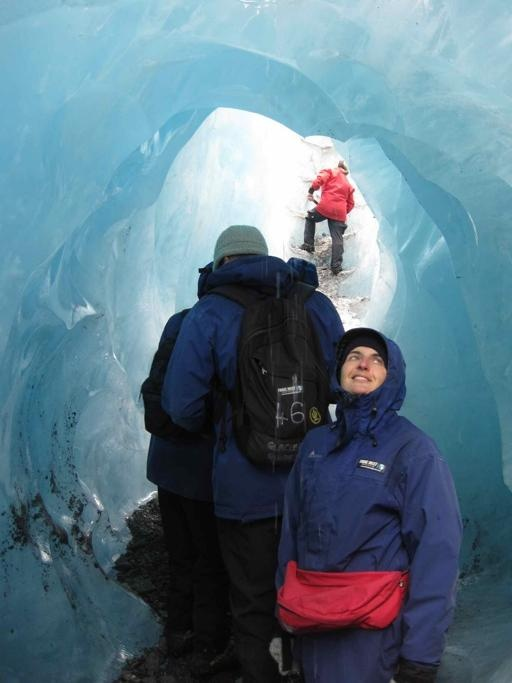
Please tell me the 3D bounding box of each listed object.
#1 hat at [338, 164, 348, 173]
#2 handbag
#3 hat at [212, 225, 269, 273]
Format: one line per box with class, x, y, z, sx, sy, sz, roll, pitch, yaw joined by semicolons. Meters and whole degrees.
hat;0.662;-1.338;5.355;0.055;0.092;0.033;-29;23;-20
handbag;0.200;0.643;1.755;0.232;0.109;0.196;-5;-13;12
hat;-0.069;-0.348;2.609;0.131;0.139;0.176;-3;1;-8
